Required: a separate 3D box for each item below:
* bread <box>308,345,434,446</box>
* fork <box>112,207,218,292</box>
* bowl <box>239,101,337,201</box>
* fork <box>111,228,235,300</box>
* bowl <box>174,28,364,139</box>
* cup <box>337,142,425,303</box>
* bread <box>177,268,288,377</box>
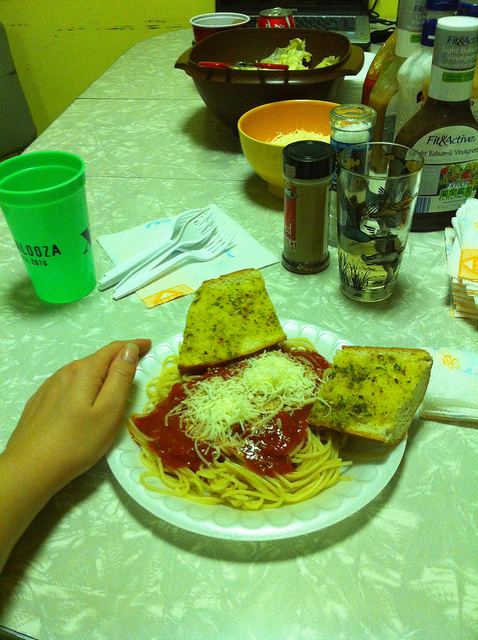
[{"bbox_3d":[0.144,0.082,0.590,0.112,0.037,0.131,5,42,30],"label":"bread"},{"bbox_3d":[-0.123,-0.115,0.914,0.228,0.036,0.039,-40,80,-19],"label":"fork"},{"bbox_3d":[0.089,-0.333,1.052,0.178,0.110,0.165,-3,49,4],"label":"bowl"},{"bbox_3d":[-0.103,-0.086,0.873,0.212,0.029,0.034,-30,65,-15],"label":"fork"},{"bbox_3d":[0.073,-0.511,1.172,0.481,0.196,0.309,0,43,4],"label":"bowl"},{"bbox_3d":[0.211,-0.154,0.807,0.120,0.216,0.191,19,42,27],"label":"cup"},{"bbox_3d":[-0.012,-0.004,0.714,0.118,0.037,0.205,25,44,4],"label":"bread"}]
